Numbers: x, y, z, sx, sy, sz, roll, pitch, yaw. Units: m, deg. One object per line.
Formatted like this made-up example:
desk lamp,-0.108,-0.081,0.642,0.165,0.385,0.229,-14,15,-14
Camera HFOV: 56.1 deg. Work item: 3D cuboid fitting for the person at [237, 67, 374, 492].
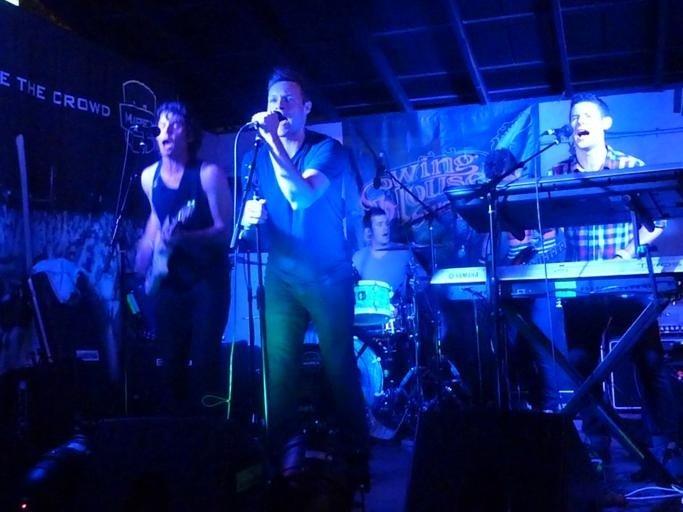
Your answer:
person,-0.218,0.071,3.650,0.615,2.421,0.516,-4,-5,2

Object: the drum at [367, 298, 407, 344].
drum,0.466,0.577,5.658,0.380,0.373,0.239,-7,4,-22

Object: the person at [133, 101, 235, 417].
person,-0.986,-0.079,4.074,0.501,1.982,0.602,0,-6,-38
